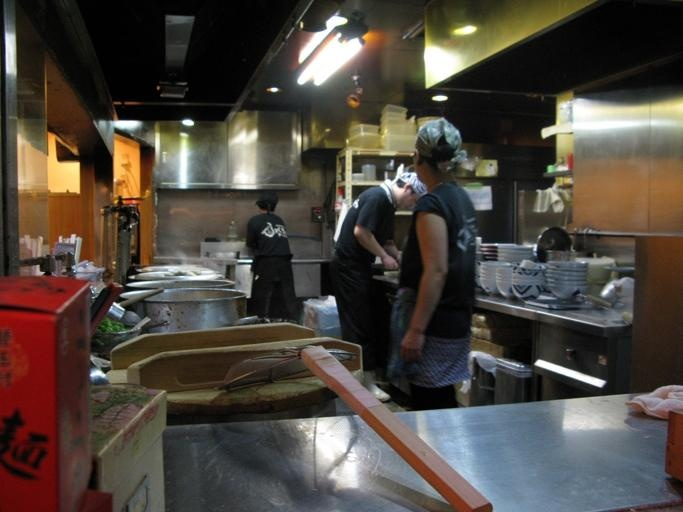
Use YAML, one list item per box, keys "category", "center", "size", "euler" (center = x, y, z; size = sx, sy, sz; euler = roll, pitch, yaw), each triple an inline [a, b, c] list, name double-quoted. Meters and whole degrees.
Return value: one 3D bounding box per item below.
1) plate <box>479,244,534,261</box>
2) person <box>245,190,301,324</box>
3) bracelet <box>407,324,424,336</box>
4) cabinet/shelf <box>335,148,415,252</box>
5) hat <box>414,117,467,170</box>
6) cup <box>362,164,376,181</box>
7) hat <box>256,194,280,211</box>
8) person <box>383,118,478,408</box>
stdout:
- category: "plate"
  center: [0.938, -0.018, 3.147]
  size: [0.253, 0.112, 0.407]
  euler: [0, 5, 4]
- category: "person"
  center: [-0.678, 0.102, 5.395]
  size: [0.437, 1.024, 0.320]
  euler: [0, 5, 2]
- category: "bracelet"
  center: [0.282, 0.272, 2.061]
  size: [0.031, 0.030, 0.028]
  euler: [17, 43, -13]
- category: "cabinet/shelf"
  center: [0.509, -0.745, 6.251]
  size: [0.758, 1.314, 1.032]
  euler: [1, 3, -6]
- category: "hat"
  center: [0.390, -0.425, 2.142]
  size: [0.171, 0.184, 0.225]
  euler: [1, 9, -6]
- category: "cup"
  center: [0.280, -0.873, 5.779]
  size: [0.159, 0.170, 0.155]
  euler: [-1, 6, 0]
- category: "hat"
  center: [-0.724, -0.523, 5.432]
  size: [0.153, 0.181, 0.191]
  euler: [1, 19, -8]
- category: "person"
  center: [0.345, 0.025, 2.166]
  size: [0.341, 1.118, 0.338]
  euler: [1, 6, 12]
